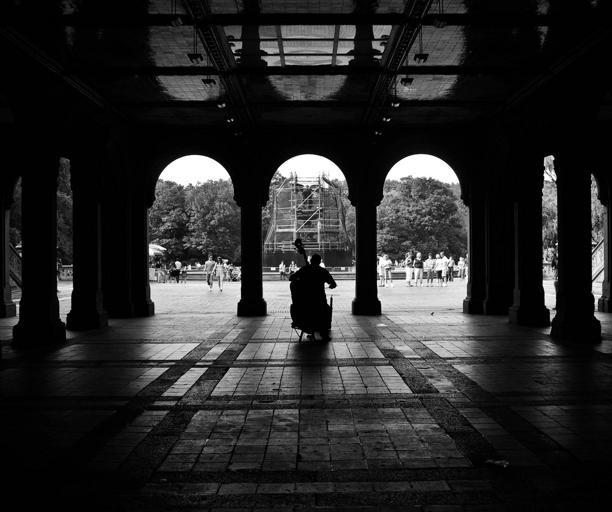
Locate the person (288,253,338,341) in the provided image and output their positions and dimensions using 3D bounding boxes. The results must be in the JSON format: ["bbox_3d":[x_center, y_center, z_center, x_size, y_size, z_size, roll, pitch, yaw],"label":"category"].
[{"bbox_3d":[0.117,0.723,12.252,0.825,1.482,0.454,0,0,8],"label":"person"}]
